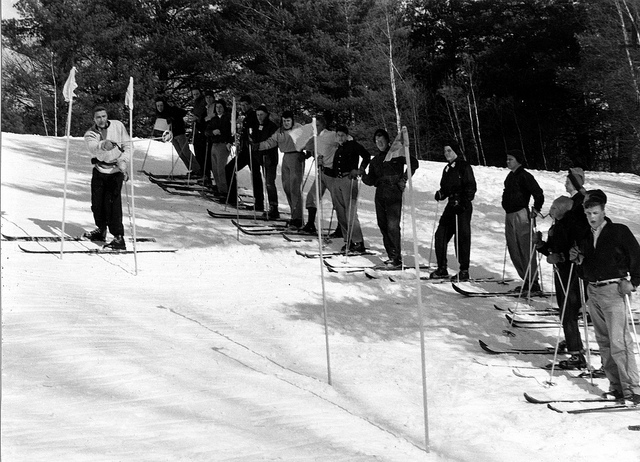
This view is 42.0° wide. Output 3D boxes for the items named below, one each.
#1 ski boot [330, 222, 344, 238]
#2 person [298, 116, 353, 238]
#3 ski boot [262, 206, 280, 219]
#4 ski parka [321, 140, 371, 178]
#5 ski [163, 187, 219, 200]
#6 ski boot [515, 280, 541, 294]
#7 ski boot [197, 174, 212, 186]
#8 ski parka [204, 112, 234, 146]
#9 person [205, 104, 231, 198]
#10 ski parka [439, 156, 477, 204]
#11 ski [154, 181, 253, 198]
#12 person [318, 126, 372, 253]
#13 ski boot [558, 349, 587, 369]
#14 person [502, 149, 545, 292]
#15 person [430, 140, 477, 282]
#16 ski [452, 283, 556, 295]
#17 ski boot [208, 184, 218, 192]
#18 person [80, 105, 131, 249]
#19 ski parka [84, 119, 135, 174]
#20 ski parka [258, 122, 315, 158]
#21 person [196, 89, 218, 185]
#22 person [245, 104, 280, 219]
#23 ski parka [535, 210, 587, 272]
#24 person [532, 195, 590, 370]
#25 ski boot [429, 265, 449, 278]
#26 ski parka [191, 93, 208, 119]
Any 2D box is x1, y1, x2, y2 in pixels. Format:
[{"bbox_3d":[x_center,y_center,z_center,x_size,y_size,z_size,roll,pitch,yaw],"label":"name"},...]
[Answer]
[{"bbox_3d":[0.354,-0.025,19.021,0.289,0.328,0.331,-4,-4,42],"label":"ski boot"},{"bbox_3d":[0.080,-1.216,18.409,1.089,2.854,1.016,-9,21,-27],"label":"person"},{"bbox_3d":[-1.232,-0.438,20.109,0.441,0.421,0.216,4,-6,4],"label":"ski boot"},{"bbox_3d":[0.474,-1.505,17.581,0.813,0.505,0.321,-13,-11,39],"label":"ski parka"},{"bbox_3d":[-3.441,-0.954,21.602,0.944,0.071,0.246,8,19,-27],"label":"ski"},{"bbox_3d":[4.053,1.103,16.158,0.357,0.126,0.253,-4,-2,-9],"label":"ski boot"},{"bbox_3d":[-3.164,-1.365,22.579,0.325,0.338,0.103,1,-29,31],"label":"ski boot"},{"bbox_3d":[-2.434,-2.530,20.297,0.834,0.759,0.456,-1,7,16],"label":"ski parka"},{"bbox_3d":[-2.476,-1.914,20.685,0.722,2.527,0.762,-6,17,-25],"label":"person"},{"bbox_3d":[2.721,-1.008,16.820,0.875,0.815,0.426,-2,-11,-25],"label":"ski parka"},{"bbox_3d":[-3.239,-1.085,21.815,1.653,0.175,0.245,11,28,-19],"label":"ski"},{"bbox_3d":[0.738,-0.827,17.806,1.015,2.696,1.077,-4,17,-28],"label":"person"},{"bbox_3d":[3.995,2.031,13.072,0.509,0.339,0.198,4,-9,-2],"label":"ski boot"},{"bbox_3d":[3.924,-0.206,16.303,0.701,2.762,1.304,-1,3,-23],"label":"person"},{"bbox_3d":[2.662,-0.408,16.789,0.876,2.758,1.038,3,-4,-41],"label":"person"},{"bbox_3d":[3.559,1.076,15.877,2.509,0.298,0.264,0,-2,-2],"label":"ski"},{"bbox_3d":[-2.907,-1.131,22.075,0.235,0.216,0.056,5,10,24],"label":"ski boot"},{"bbox_3d":[-4.126,-1.002,16.168,0.754,2.701,0.964,-2,3,-14],"label":"person"},{"bbox_3d":[-4.116,-1.609,15.903,0.825,1.041,0.582,-2,3,-14],"label":"ski parka"},{"bbox_3d":[-0.878,-2.123,18.842,0.489,0.633,1.642,19,17,41],"label":"ski parka"},{"bbox_3d":[-2.721,-2.303,21.145,0.708,2.562,0.748,-9,14,-9],"label":"person"},{"bbox_3d":[-1.469,-1.670,19.714,0.939,2.708,0.813,19,25,36],"label":"person"},{"bbox_3d":[3.894,0.451,13.602,0.532,1.494,0.683,-30,30,-24],"label":"ski parka"},{"bbox_3d":[3.864,0.810,13.315,0.948,2.566,0.826,8,20,35],"label":"person"},{"bbox_3d":[2.399,0.820,16.705,0.432,0.409,0.190,3,-10,-1],"label":"ski boot"},{"bbox_3d":[-3.177,-3.232,21.537,0.360,0.688,0.773,-2,3,-10],"label":"ski parka"}]
